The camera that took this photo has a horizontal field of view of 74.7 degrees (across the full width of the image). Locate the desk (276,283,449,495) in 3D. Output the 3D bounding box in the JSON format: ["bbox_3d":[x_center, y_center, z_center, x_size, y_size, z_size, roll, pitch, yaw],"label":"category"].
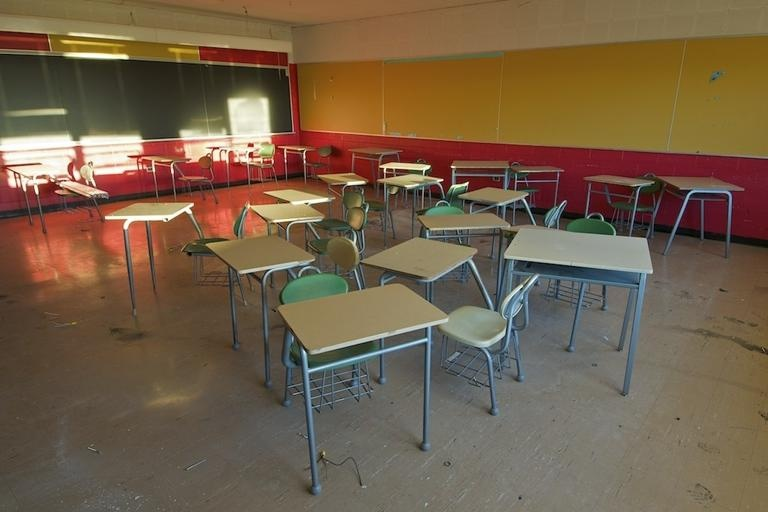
[{"bbox_3d":[-0.210,1.174,4.261,1.201,1.355,0.998,-13,24,-28],"label":"desk"}]

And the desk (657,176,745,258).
[{"bbox_3d":[4.661,-0.574,7.714,0.984,1.088,1.217,1,17,14],"label":"desk"}]

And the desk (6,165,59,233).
[{"bbox_3d":[-6.250,-1.010,8.893,0.437,0.591,1.172,-15,27,-42],"label":"desk"}]
